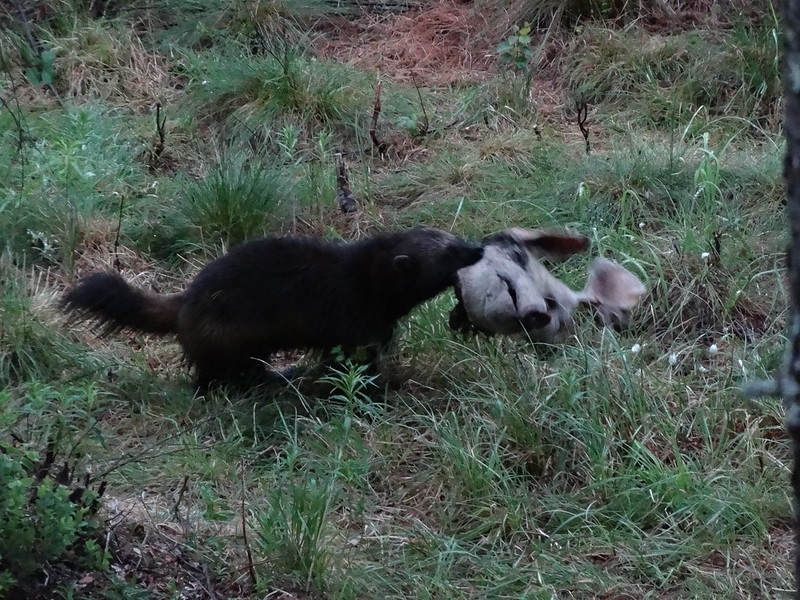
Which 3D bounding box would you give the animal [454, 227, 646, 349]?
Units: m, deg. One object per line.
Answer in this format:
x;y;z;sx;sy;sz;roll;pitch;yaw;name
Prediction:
0.792;-0.037;4.576;0.859;0.365;0.671;19;80;12;animal
